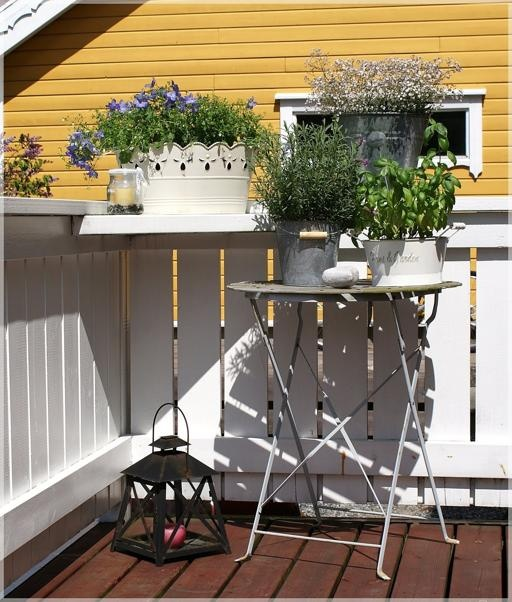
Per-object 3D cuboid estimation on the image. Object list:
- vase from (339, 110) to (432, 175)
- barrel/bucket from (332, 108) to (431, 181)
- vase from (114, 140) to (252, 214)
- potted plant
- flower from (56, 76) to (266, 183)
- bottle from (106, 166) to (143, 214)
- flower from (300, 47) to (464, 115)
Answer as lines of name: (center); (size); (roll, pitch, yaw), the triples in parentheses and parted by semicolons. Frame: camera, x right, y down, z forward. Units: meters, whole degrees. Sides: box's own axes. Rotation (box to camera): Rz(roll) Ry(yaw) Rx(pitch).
vase: (0.370, -0.446, 2.909); (0.196, 0.157, 0.193); (1, 3, 35)
barrel/bucket: (0.377, -0.444, 2.903); (0.196, 0.145, 0.195); (-1, 0, 0)
vase: (-0.180, -0.359, 2.932); (0.222, 0.133, 0.273); (1, -6, -6)
potted plant: (0.287, -0.231, 2.793); (0.606, 0.495, 0.421); (0, -7, -6)
flower: (-0.262, -0.545, 3.009); (0.395, 0.219, 0.389); (-13, 13, -36)
bottle: (-0.384, -0.328, 2.910); (0.088, 0.141, 0.134); (0, -2, 4)
flower: (0.379, -0.665, 2.948); (0.435, 0.190, 0.233); (0, 12, 5)
